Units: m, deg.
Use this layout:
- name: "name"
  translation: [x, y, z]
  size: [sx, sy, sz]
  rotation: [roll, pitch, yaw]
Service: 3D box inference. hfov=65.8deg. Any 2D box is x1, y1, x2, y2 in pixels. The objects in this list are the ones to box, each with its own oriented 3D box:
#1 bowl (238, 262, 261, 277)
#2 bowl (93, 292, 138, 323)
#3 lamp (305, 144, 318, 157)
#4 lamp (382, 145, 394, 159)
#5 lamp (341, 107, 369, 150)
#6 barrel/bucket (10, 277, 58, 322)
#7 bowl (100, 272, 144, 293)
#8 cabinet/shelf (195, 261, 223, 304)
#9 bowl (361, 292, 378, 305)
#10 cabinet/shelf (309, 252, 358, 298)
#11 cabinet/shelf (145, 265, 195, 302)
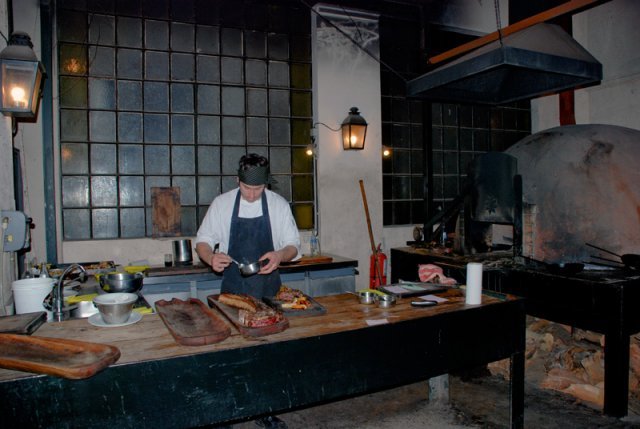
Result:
- name: "bowl"
  translation: [-0.702, 0.549, 5.040]
  size: [0.247, 0.135, 0.132]
  rotation: [-4, 4, -27]
- name: "bowl"
  translation: [-1.882, 0.877, 4.648]
  size: [0.369, 0.206, 0.369]
  rotation: [2, 2, 0]
- name: "lamp"
  translation: [-0.166, -1.034, 8.107]
  size: [0.154, 0.164, 0.170]
  rotation: [1, -20, 26]
- name: "lamp"
  translation: [1.191, -1.092, 8.738]
  size: [0.232, 0.241, 0.098]
  rotation: [-4, 4, -32]
- name: "lamp"
  translation: [0.531, -1.389, 8.126]
  size: [0.406, 0.667, 0.479]
  rotation: [-2, 3, 2]
- name: "barrel/bucket"
  translation: [-2.779, 0.802, 4.830]
  size: [0.387, 0.329, 0.339]
  rotation: [4, -4, -31]
- name: "bowl"
  translation: [-2.051, 0.703, 5.164]
  size: [0.291, 0.129, 0.288]
  rotation: [1, 0, 0]
- name: "cabinet/shelf"
  translation: [-1.554, 0.975, 6.888]
  size: [0.454, 0.651, 0.471]
  rotation: [2, -4, -19]
- name: "bowl"
  translation: [0.491, 0.854, 5.102]
  size: [0.122, 0.089, 0.119]
  rotation: [1, 1, 0]
- name: "cabinet/shelf"
  translation: [0.157, 0.895, 7.438]
  size: [0.605, 0.629, 0.548]
  rotation: [0, -1, -21]
- name: "cabinet/shelf"
  translation: [-2.070, 0.898, 6.834]
  size: [0.688, 0.642, 0.382]
  rotation: [0, 6, -26]
